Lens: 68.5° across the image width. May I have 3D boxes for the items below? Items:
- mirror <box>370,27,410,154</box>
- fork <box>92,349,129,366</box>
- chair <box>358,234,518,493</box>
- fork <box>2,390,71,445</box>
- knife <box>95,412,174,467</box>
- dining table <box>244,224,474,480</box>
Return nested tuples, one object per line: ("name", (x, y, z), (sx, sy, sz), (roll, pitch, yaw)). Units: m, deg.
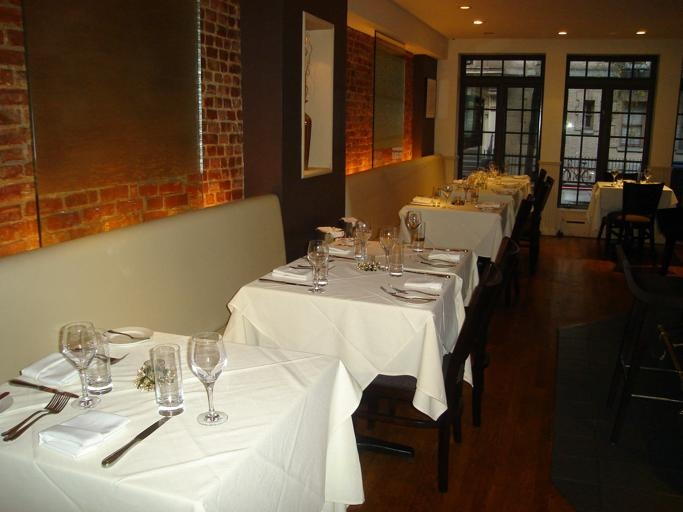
("mirror", (0.698, -2.500, 7.569), (0.026, 1.752, 1.561), (4, 11, 21))
("fork", (-0.953, 0.425, 2.053), (0.083, 0.087, 0.053), (1, 13, -11))
("chair", (0.576, 0.517, 3.471), (1.179, 2.059, 1.094), (6, 12, 20))
("fork", (-1.066, 0.567, 1.771), (0.053, 0.036, 0.225), (21, 26, 22))
("knife", (-0.668, 0.612, 1.668), (0.044, 0.030, 0.346), (17, 15, 13))
("dining table", (0.189, 0.474, 2.826), (1.182, 0.737, 1.085), (9, 22, 23))
